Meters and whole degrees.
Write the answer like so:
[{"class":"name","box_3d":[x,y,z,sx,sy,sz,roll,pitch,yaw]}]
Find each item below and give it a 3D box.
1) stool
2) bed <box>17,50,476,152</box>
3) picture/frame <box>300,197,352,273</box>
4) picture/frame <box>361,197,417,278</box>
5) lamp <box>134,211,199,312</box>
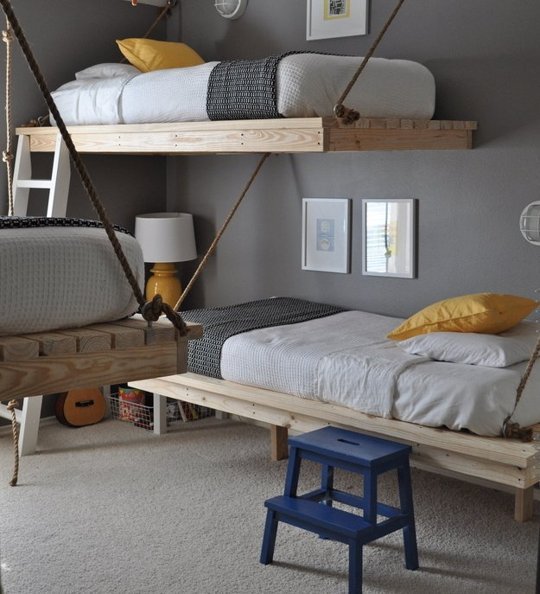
[{"class":"stool","box_3d":[0.278,0.803,2.239,0.492,0.478,0.496,5,8,42]},{"class":"bed","box_3d":[-0.227,-0.782,2.879,1.378,0.291,1.020,6,10,44]},{"class":"picture/frame","box_3d":[0.400,-0.436,3.930,0.538,0.603,0.049,7,10,45]},{"class":"picture/frame","box_3d":[0.745,-0.371,3.682,0.408,0.486,0.020,-3,1,-33]},{"class":"lamp","box_3d":[-0.795,-0.257,4.448,0.484,0.637,0.445,1,2,-6]}]
